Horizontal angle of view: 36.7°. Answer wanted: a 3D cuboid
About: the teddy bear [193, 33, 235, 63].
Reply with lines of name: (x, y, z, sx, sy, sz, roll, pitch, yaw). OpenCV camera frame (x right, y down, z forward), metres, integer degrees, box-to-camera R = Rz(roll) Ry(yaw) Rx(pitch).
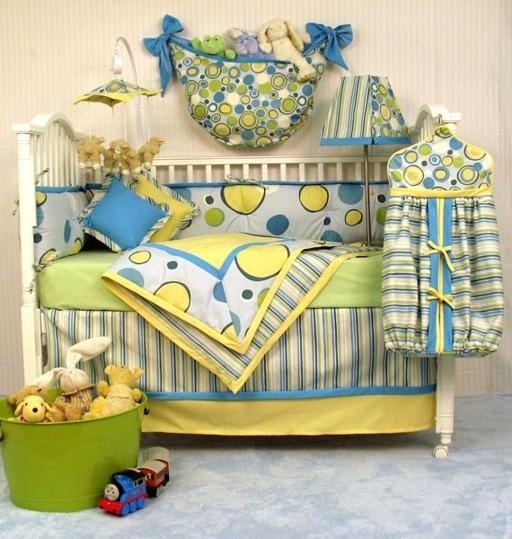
teddy bear: (-0.182, -0.922, 3.252, 0.186, 0.075, 0.145, -1, 30, -7)

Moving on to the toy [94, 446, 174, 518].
toy: (-0.350, 0.636, 2.306, 0.118, 0.087, 0.230, -1, 2, 31)

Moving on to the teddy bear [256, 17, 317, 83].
teddy bear: (0.131, -0.917, 3.235, 0.254, 0.259, 0.102, 4, 14, 27)

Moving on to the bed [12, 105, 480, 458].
bed: (-0.029, 0.061, 2.673, 1.861, 1.128, 0.891, -1, 5, 0)

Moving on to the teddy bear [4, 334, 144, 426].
teddy bear: (-0.563, 0.345, 2.384, 0.320, 0.119, 0.325, -9, 5, 1)
